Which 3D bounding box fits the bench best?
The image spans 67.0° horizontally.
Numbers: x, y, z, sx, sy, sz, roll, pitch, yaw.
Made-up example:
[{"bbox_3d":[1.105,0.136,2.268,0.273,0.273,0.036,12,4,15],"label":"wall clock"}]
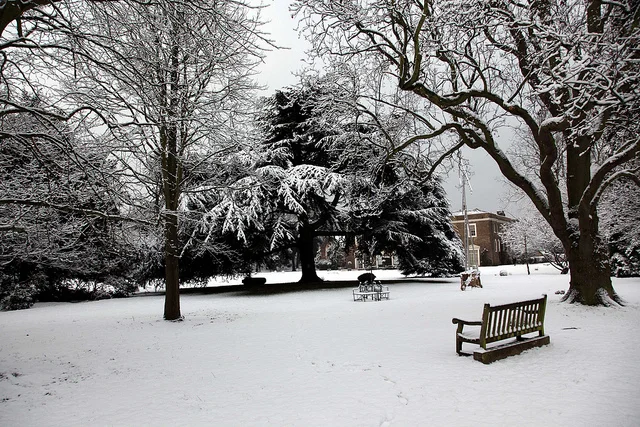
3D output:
[{"bbox_3d":[4.730,2.893,12.515,2.686,1.379,1.035,-1,1,-31],"label":"bench"}]
